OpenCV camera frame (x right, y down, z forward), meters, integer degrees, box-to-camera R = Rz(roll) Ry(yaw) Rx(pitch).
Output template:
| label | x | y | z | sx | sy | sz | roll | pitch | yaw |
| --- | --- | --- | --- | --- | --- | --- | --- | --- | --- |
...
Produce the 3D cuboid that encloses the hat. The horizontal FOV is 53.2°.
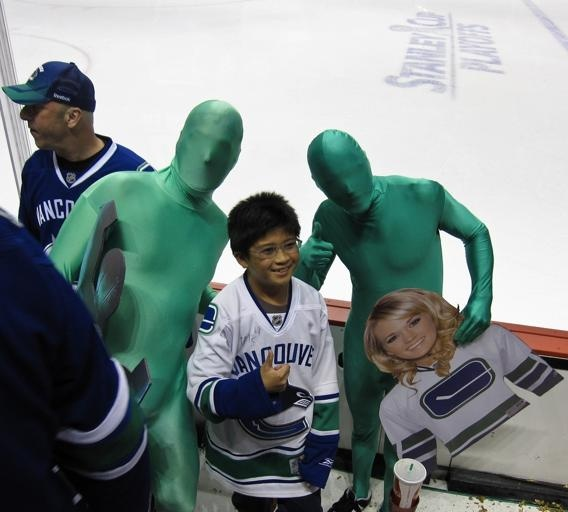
| label | x | y | z | sx | sy | sz | roll | pitch | yaw |
| --- | --- | --- | --- | --- | --- | --- | --- | --- | --- |
| hat | -0.811 | -0.573 | 1.942 | 0.257 | 0.171 | 0.167 | 9 | 22 | -27 |
